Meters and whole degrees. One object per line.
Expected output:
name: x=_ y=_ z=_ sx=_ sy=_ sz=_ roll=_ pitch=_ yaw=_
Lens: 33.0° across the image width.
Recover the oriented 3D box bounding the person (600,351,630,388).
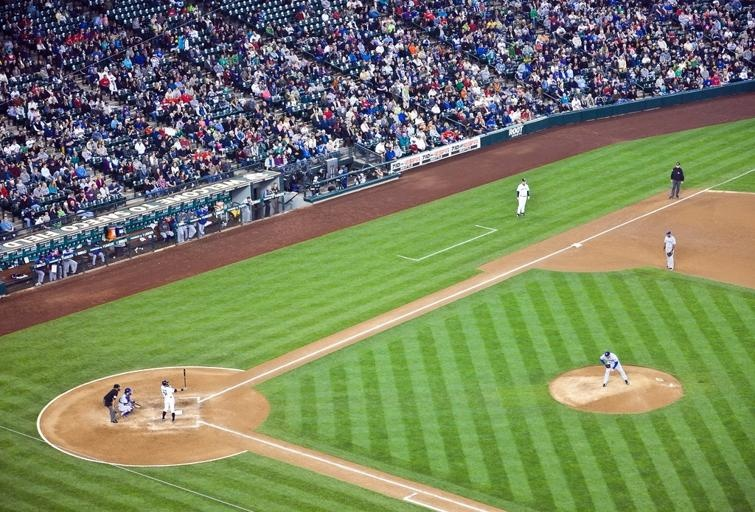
person: x=10.690 y=5.158 z=58.292 sx=1.208 sy=1.859 sz=0.882 roll=-20 pitch=21 yaw=-21
